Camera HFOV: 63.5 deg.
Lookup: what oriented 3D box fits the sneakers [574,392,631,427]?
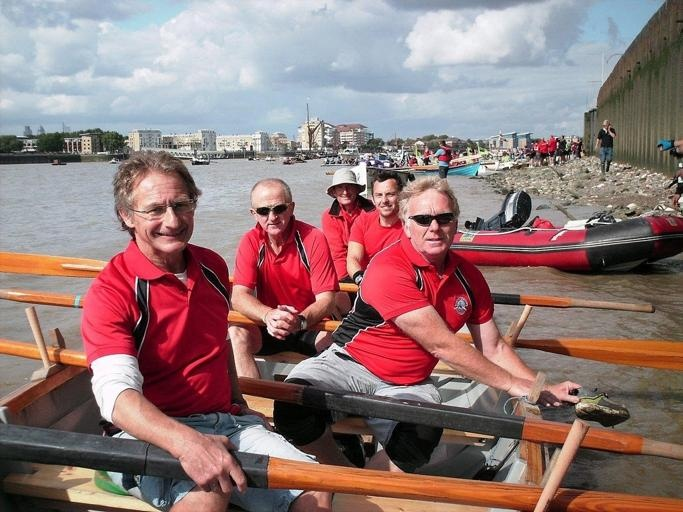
[{"bbox_3d":[1.427,0.853,3.126,0.367,0.157,0.197,2,43,17],"label":"sneakers"}]

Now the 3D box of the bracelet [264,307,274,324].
[{"bbox_3d":[-0.561,0.455,4.247,0.049,0.096,0.080,25,-19,-6],"label":"bracelet"}]
